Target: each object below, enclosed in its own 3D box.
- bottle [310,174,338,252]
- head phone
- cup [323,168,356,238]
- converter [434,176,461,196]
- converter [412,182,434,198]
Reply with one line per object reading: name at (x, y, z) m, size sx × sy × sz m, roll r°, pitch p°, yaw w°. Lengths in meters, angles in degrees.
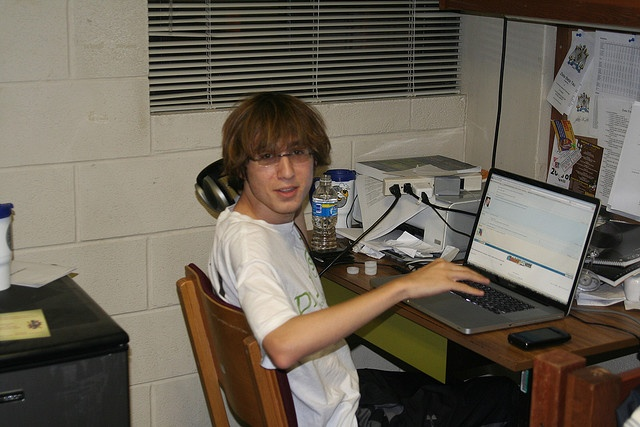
bottle at (0.020, -0.002, 2.051) m, size 0.132 × 0.314 × 0.130 m, roll 2°, pitch 19°, yaw -1°
head phone at (-0.421, -0.097, 1.957) m, size 0.090 × 0.175 × 0.249 m, roll -48°, pitch 3°, yaw -35°
cup at (0.116, -0.069, 2.242) m, size 0.195 × 0.314 × 0.250 m, roll -1°, pitch 9°, yaw 1°
converter at (0.537, -0.118, 2.005) m, size 0.137 × 0.088 × 0.072 m, roll 0°, pitch 2°, yaw -2°
converter at (0.437, -0.110, 2.011) m, size 0.075 × 0.044 × 0.073 m, roll 0°, pitch 16°, yaw -2°
